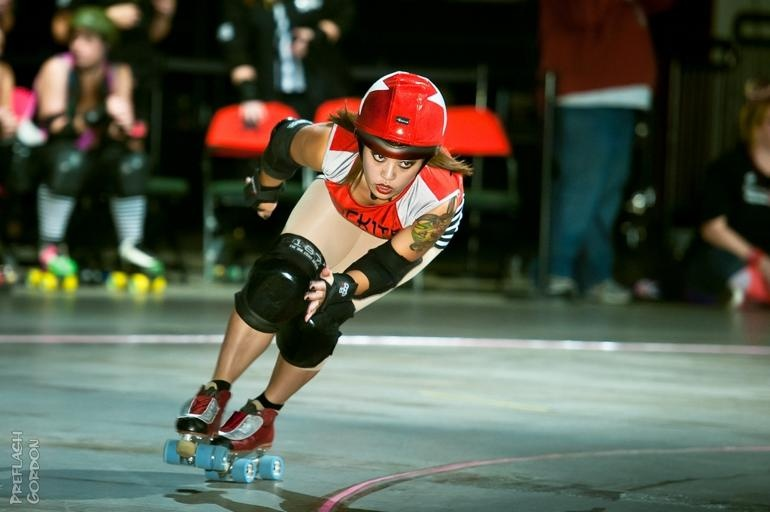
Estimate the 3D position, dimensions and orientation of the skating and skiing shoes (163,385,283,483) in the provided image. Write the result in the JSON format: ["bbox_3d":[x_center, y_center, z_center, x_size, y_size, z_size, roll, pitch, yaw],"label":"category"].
[{"bbox_3d":[-0.583,0.699,3.549,0.224,0.312,0.608,11,-15,16],"label":"skating and skiing shoes"}]

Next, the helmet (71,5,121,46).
[{"bbox_3d":[-2.127,-1.701,6.968,0.230,0.263,0.316,30,2,18],"label":"helmet"}]

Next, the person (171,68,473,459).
[{"bbox_3d":[-0.203,0.013,3.717,1.043,1.476,0.803,1,8,5],"label":"person"}]

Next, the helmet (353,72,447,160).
[{"bbox_3d":[0.063,-0.558,3.778,0.360,0.415,0.478,12,18,-1],"label":"helmet"}]
